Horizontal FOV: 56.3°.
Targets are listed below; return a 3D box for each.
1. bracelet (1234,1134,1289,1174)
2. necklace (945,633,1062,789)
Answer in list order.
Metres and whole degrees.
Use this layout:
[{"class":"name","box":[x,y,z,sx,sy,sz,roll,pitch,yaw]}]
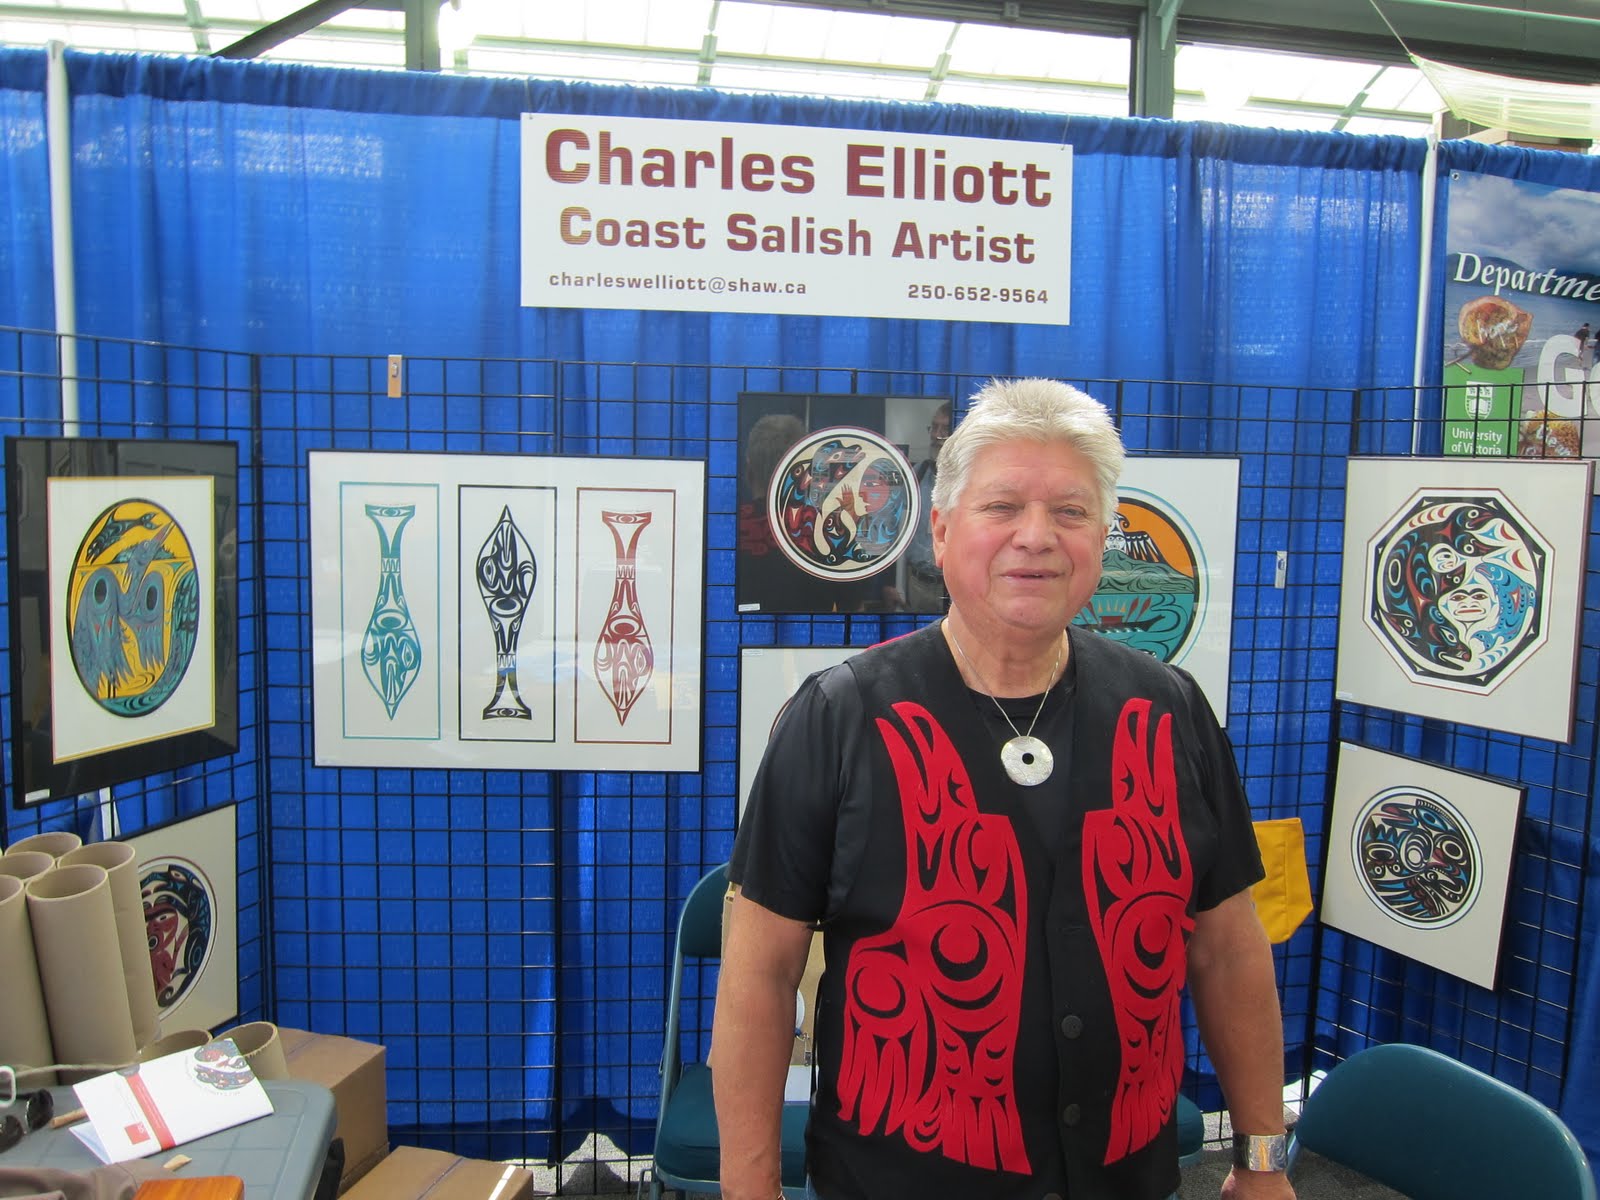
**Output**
[{"class":"bracelet","box":[0.950,1.116,3.076,0.097,0.072,0.107,-6,-9,38]},{"class":"necklace","box":[0.401,0.226,2.943,0.254,0.321,0.027,-7,-22,0]}]
